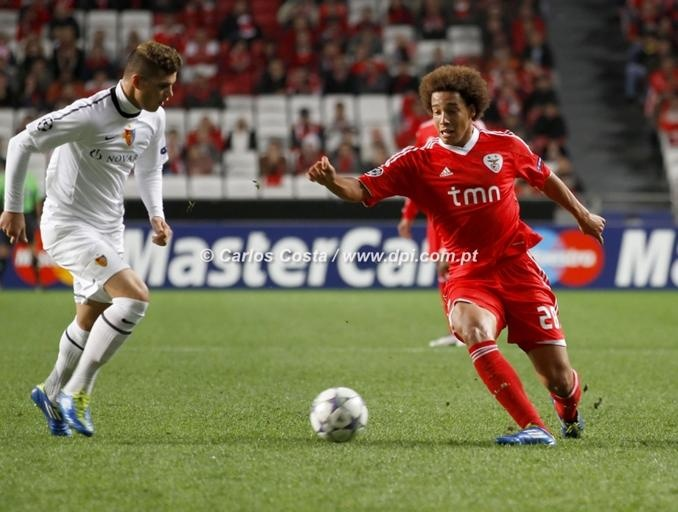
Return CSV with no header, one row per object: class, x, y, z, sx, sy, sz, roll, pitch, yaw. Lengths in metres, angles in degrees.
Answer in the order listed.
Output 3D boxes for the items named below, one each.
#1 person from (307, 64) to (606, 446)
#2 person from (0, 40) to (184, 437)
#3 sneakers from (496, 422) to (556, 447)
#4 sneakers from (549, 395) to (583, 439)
person,1.043,-0.047,7.728,1.621,2.659,0.904,4,8,20
person,-1.837,-0.134,7.742,1.246,2.799,0.786,-1,8,-17
sneakers,1.321,1.262,7.413,0.305,0.108,0.163,3,-13,-1
sneakers,1.678,1.199,7.679,0.153,0.392,0.178,-13,0,3
